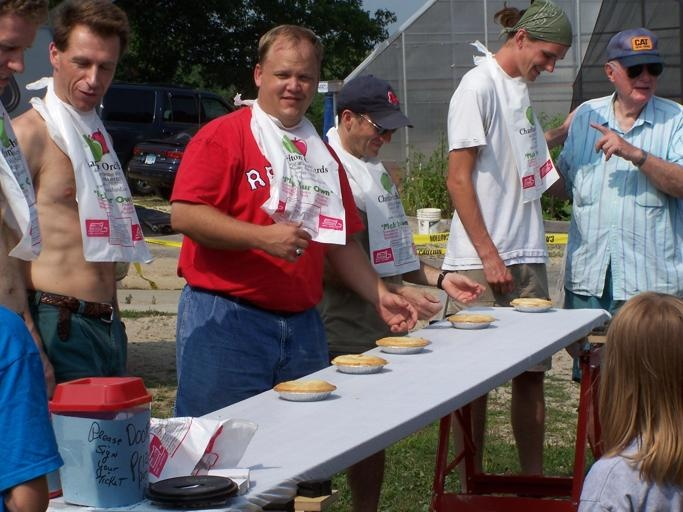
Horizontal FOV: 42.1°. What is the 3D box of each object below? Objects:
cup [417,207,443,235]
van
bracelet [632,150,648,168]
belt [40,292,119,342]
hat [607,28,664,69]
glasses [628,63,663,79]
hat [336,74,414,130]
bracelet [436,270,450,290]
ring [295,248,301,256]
[{"bbox_3d":[1.373,-0.546,13.867,0.373,0.367,0.375,0,2,0],"label":"cup"},{"bbox_3d":[-3.302,-2.228,16.487,1.659,1.539,3.671,4,10,29],"label":"van"},{"bbox_3d":[1.659,-0.540,4.964,0.064,0.091,0.099,27,20,6],"label":"bracelet"},{"bbox_3d":[-1.135,0.279,3.817,0.190,0.124,0.224,12,-10,7],"label":"belt"},{"bbox_3d":[1.714,-1.208,5.159,0.302,0.254,0.326,2,6,12],"label":"hat"},{"bbox_3d":[1.766,-1.051,5.065,0.242,0.083,0.135,-1,6,-19],"label":"glasses"},{"bbox_3d":[0.177,-0.833,4.716,0.458,0.255,0.303,19,15,38],"label":"hat"},{"bbox_3d":[0.510,0.123,4.548,0.055,0.087,0.082,12,-18,38],"label":"bracelet"},{"bbox_3d":[-0.177,-0.019,3.670,0.026,0.026,0.046,-2,-3,2],"label":"ring"}]
